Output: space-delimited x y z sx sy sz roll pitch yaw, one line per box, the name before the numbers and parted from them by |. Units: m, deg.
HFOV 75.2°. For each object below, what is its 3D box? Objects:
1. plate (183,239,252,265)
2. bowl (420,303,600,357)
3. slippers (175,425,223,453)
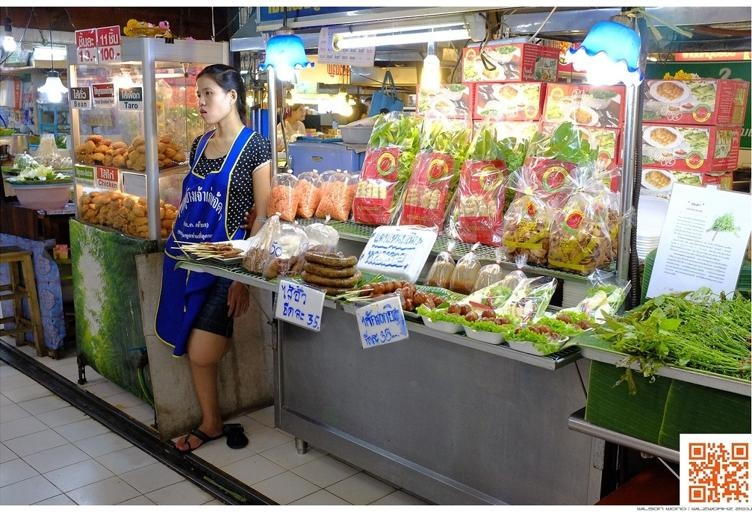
plate | -0.909 -0.019 2.745 0.233 0.035 0.219 -4 19 -10
bowl | 0.557 0.186 2.035 0.608 0.153 0.602 -1 12 0
slippers | -1.270 1.309 3.511 0.310 0.084 0.130 -6 16 -43
